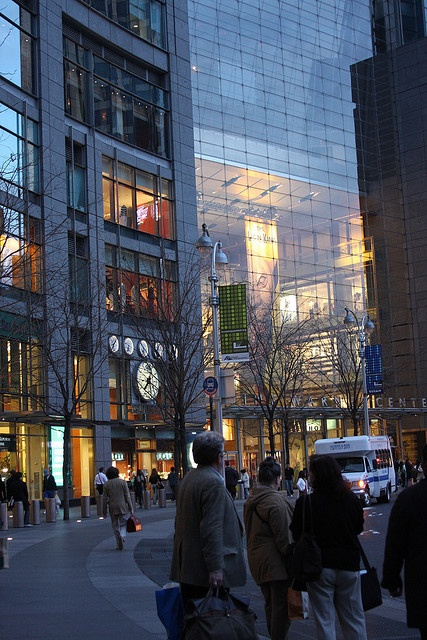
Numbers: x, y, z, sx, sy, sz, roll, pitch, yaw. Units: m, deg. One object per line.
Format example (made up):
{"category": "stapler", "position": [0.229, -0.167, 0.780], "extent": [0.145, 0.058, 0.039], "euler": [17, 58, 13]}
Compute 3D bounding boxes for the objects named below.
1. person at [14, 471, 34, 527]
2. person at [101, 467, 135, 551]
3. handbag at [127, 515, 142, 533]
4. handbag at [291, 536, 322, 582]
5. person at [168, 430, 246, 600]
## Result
{"category": "person", "position": [-5.515, 5.117, 22.439], "extent": [0.432, 1.509, 1.508], "euler": [-3, -10, -15]}
{"category": "person", "position": [-1.723, 3.423, 14.281], "extent": [0.462, 1.523, 0.924], "euler": [-4, -10, -8]}
{"category": "handbag", "position": [-1.427, 3.619, 13.984], "extent": [0.216, 0.276, 0.295], "euler": [-4, -10, -8]}
{"category": "handbag", "position": [0.605, 1.552, 5.090], "extent": [0.163, 0.292, 0.215], "euler": [6, -26, -6]}
{"category": "person", "position": [-0.063, 1.240, 4.989], "extent": [0.496, 1.054, 0.639], "euler": [-5, -9, -3]}
